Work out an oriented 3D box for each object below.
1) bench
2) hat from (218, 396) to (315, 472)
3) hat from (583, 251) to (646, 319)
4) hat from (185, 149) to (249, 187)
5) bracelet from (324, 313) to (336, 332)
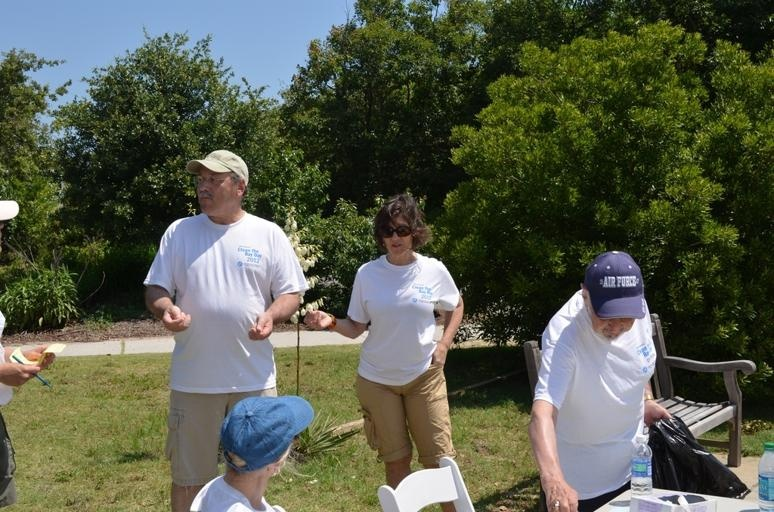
[{"bbox_3d":[2.713,1.452,7.081,2.024,1.318,0.923,0,-2,-43],"label":"bench"},{"bbox_3d":[-0.910,1.288,5.254,0.451,0.347,0.625,29,44,33],"label":"hat"},{"bbox_3d":[1.964,0.213,5.857,0.479,0.423,0.751,-1,24,8],"label":"hat"},{"bbox_3d":[-1.651,-0.922,6.948,0.577,0.309,0.389,17,-7,-40],"label":"hat"},{"bbox_3d":[-0.594,0.722,7.184,0.082,0.171,0.133,2,37,-1],"label":"bracelet"}]
